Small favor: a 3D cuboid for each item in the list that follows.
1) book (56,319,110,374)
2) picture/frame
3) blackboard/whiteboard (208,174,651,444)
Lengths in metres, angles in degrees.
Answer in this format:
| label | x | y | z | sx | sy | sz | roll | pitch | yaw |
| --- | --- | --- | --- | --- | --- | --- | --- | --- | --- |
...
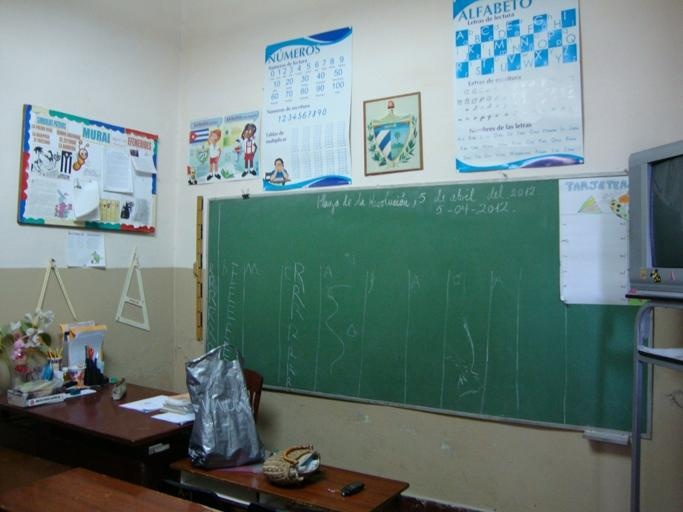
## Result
| label | x | y | z | sx | sy | sz | roll | pitch | yaw |
| --- | --- | --- | --- | --- | --- | --- | --- | --- | --- |
| book | -1.832 | 0.648 | 3.764 | 0.293 | 0.338 | 0.228 | 1 | -2 | -40 |
| picture/frame | 0.370 | -0.839 | 3.616 | 0.410 | 0.580 | 0.038 | -2 | -5 | 28 |
| blackboard/whiteboard | 0.342 | 0.322 | 3.634 | 2.971 | 1.676 | 0.163 | 0 | 9 | 25 |
